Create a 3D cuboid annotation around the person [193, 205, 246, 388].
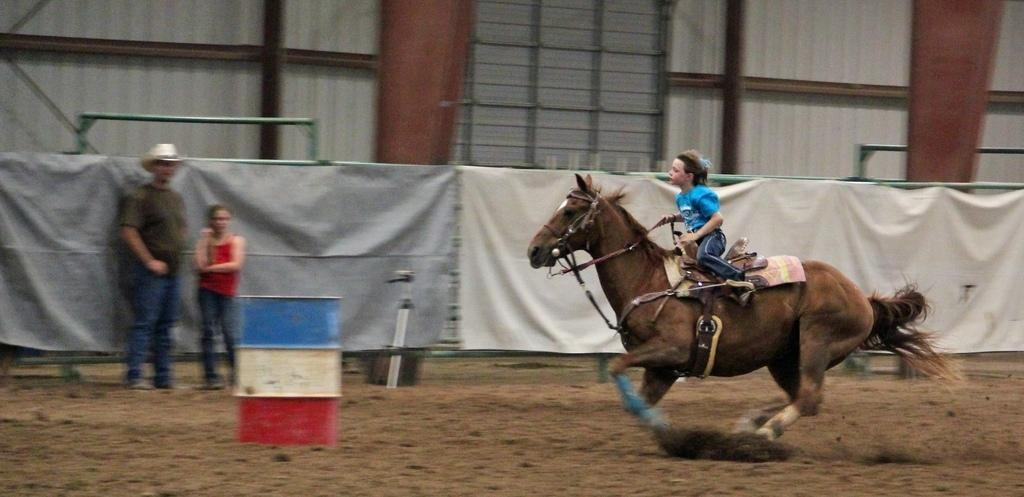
[{"bbox_3d":[-5.460,0.901,33.885,0.881,3.457,0.413,-1,8,-7],"label":"person"}]
